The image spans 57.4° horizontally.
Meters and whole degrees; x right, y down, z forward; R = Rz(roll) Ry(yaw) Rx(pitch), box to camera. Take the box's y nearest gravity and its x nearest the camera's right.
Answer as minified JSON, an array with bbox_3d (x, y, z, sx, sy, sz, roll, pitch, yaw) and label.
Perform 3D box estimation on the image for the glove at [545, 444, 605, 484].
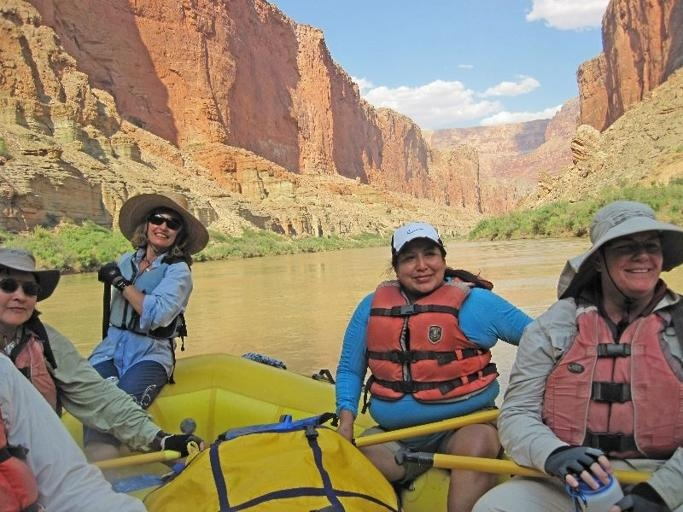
[{"bbox_3d":[0.887,0.799,2.406,0.209,0.060,0.238,-21,5,6],"label":"glove"}]

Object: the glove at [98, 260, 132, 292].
[{"bbox_3d":[-1.294,0.126,3.597,0.213,0.138,0.080,38,0,31],"label":"glove"}]

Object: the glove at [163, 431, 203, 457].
[{"bbox_3d":[-0.733,0.882,2.934,0.178,0.092,0.064,-3,-20,28],"label":"glove"}]

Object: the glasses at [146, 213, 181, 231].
[{"bbox_3d":[-1.054,-0.217,3.711,0.126,0.122,0.042,15,44,-10],"label":"glasses"}]

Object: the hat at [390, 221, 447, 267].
[{"bbox_3d":[0.348,-0.076,3.154,0.301,0.199,0.458,-3,10,1],"label":"hat"}]
